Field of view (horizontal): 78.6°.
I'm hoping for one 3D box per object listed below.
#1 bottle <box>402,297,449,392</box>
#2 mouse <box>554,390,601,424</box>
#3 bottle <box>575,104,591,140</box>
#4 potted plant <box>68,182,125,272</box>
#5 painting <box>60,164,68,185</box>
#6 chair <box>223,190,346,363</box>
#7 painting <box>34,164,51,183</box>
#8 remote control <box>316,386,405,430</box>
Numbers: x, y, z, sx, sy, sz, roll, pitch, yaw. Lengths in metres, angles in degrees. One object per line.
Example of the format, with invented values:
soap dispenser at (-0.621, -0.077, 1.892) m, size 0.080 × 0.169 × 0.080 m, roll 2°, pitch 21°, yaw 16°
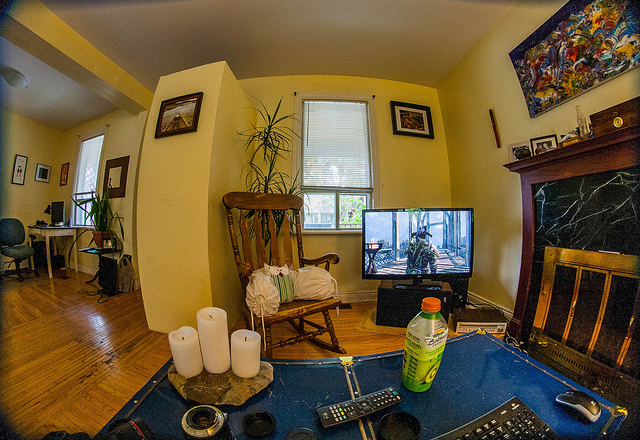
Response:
bottle at (0.742, 0.895, 2.801) m, size 0.225 × 0.753 × 0.251 m, roll -1°, pitch 3°, yaw -26°
mouse at (1.810, 1.288, 2.751) m, size 0.177 × 0.082 × 0.242 m, roll 10°, pitch 5°, yaw -33°
bottle at (2.312, -0.859, 3.434) m, size 0.087 × 0.336 × 0.164 m, roll -1°, pitch 2°, yaw 25°
potted plant at (-2.772, 0.103, 4.794) m, size 0.584 × 0.692 × 0.564 m, roll 2°, pitch 6°, yaw 27°
painting at (-3.280, -0.569, 4.947) m, size 0.098 × 0.218 × 0.071 m, roll 0°, pitch 2°, yaw 44°
chair at (-0.356, 0.590, 3.668) m, size 1.030 × 1.542 × 1.143 m, roll -1°, pitch 9°, yaw -9°
painting at (-3.363, -0.557, 4.674) m, size 0.016 × 0.199 × 0.235 m, roll 8°, pitch 1°, yaw 15°
remote control at (0.267, 1.288, 2.699) m, size 0.752 × 0.100 × 0.229 m, roll -13°, pitch 37°, yaw -8°
